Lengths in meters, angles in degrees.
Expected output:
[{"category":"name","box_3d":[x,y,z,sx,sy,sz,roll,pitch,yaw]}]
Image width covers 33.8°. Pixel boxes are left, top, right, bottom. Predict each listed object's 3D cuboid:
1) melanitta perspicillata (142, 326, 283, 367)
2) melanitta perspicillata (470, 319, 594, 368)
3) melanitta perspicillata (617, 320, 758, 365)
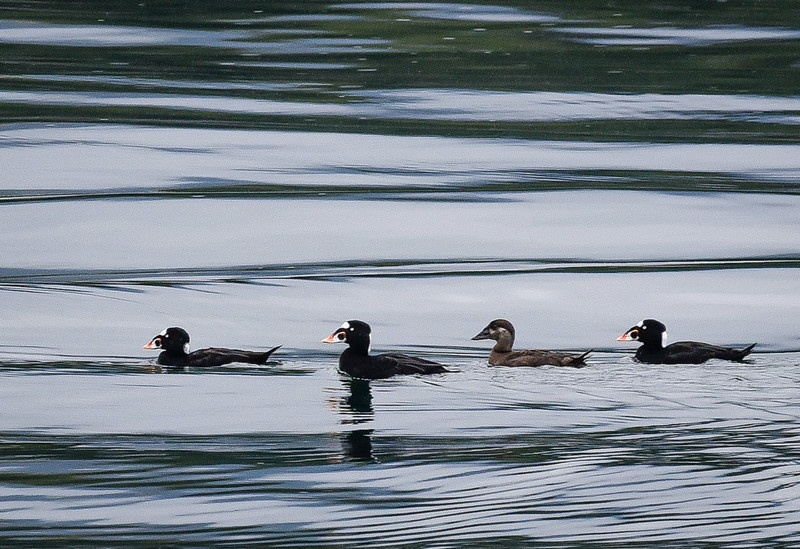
[{"category":"melanitta perspicillata","box_3d":[-2.463,0.903,16.299,1.518,0.499,0.335,-2,-4,19]},{"category":"melanitta perspicillata","box_3d":[1.524,0.915,16.268,1.930,0.498,0.469,8,13,-26]},{"category":"melanitta perspicillata","box_3d":[3.445,0.830,16.338,1.614,0.570,0.691,-2,-4,22]}]
